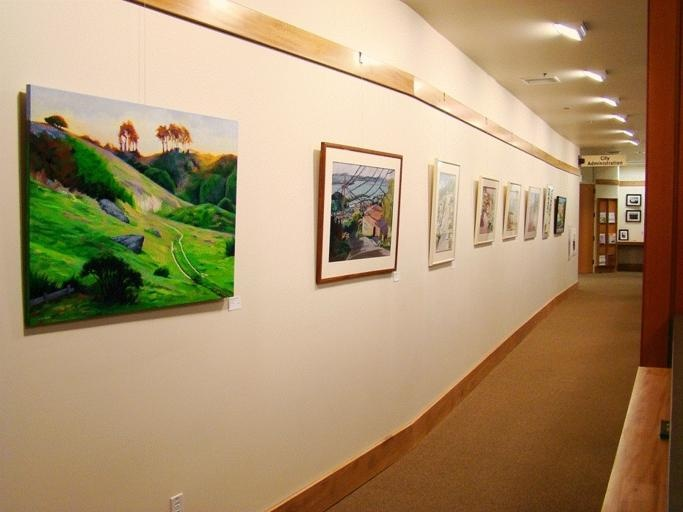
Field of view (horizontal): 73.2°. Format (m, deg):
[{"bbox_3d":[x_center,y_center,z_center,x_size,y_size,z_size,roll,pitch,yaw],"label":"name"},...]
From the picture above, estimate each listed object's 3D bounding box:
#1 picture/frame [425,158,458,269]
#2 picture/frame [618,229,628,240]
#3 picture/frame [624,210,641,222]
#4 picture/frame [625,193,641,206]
[{"bbox_3d":[1.151,-0.536,5.400,0.045,1.463,1.159,3,6,25],"label":"picture/frame"},{"bbox_3d":[11.249,-0.881,18.448,0.365,0.512,0.048,2,-2,17],"label":"picture/frame"},{"bbox_3d":[11.673,-1.617,18.482,0.408,0.406,0.048,7,-3,23],"label":"picture/frame"},{"bbox_3d":[11.730,-2.288,18.556,0.420,0.417,0.046,7,-1,23],"label":"picture/frame"}]
